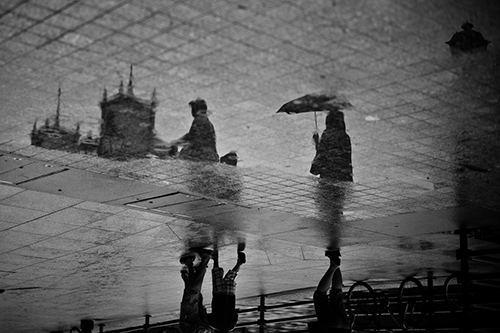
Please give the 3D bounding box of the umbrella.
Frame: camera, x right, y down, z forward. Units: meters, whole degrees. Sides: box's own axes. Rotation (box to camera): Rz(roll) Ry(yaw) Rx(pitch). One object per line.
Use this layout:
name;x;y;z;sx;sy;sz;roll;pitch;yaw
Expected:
umbrella;1.098;-0.888;15.996;1.641;0.594;1.340;-8;9;19
